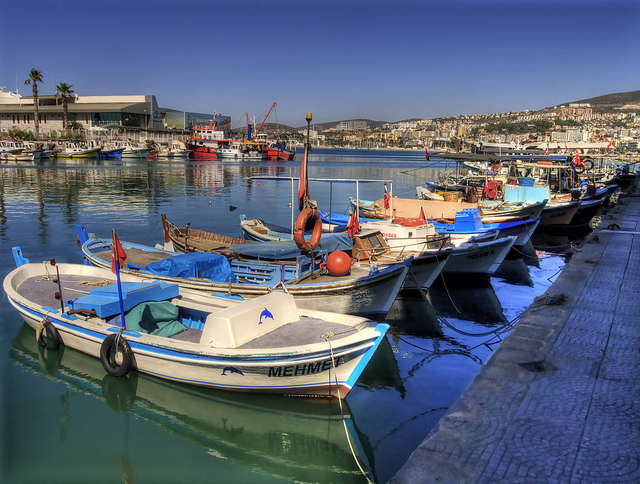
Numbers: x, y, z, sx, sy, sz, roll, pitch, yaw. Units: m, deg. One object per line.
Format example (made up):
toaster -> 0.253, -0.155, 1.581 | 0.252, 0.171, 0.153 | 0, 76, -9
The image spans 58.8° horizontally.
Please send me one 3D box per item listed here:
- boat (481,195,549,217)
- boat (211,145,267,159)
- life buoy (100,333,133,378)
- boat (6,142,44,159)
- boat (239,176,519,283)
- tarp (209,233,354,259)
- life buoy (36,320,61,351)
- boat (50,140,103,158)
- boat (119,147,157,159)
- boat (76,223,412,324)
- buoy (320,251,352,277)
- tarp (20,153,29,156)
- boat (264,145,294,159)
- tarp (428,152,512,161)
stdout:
boat -> 9.571, -1.805, 27.951 | 2.875, 0.705, 0.782 | -9, 39, 7
boat -> -16.202, -18.621, 114.934 | 11.428, 2.528, 2.851 | -4, 7, -38
life buoy -> -4.888, 2.714, 13.662 | 0.873, 1.133, 0.303 | 5, 13, 30
boat -> -45.052, -13.703, 85.015 | 8.746, 2.221, 2.322 | 10, 16, 21
boat -> 0.056, 0.332, 22.660 | 14.373, 4.973, 4.232 | 0, 12, 9
tarp -> -1.172, 0.133, 17.935 | 1.730, 0.419, 2.110 | 11, 14, 43
life buoy -> -7.037, 2.414, 14.807 | 0.617, 0.756, 0.256 | 2, 11, 14
boat -> -37.978, -14.131, 87.586 | 7.090, 2.652, 2.727 | -3, 23, -8
boat -> -31.177, -14.990, 95.160 | 5.330, 1.068, 1.533 | -6, 24, -19
boat -> -2.371, 0.789, 16.808 | 9.587, 1.756, 2.213 | 2, 30, 3
buoy -> 0.438, 0.603, 16.258 | 0.771, 0.565, 0.580 | 1, -16, 1
tarp -> -42.363, -12.573, 80.880 | 0.786, 0.271, 0.420 | 4, 5, 7
boat -> -9.454, -19.031, 120.076 | 5.724, 1.909, 3.106 | 7, 13, 30
tarp -> 9.331, -5.500, 36.391 | 6.822, 0.652, 2.774 | -11, 14, -43
